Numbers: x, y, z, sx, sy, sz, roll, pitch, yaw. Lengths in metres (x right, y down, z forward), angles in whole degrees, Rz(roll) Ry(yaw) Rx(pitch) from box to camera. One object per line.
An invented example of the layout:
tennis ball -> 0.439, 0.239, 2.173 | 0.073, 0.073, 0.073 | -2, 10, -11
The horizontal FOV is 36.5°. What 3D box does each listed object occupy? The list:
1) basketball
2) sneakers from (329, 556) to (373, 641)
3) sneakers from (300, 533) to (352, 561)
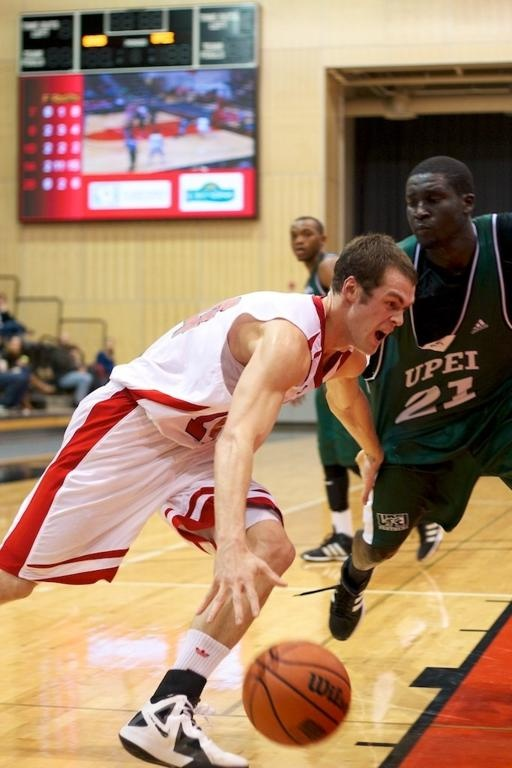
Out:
basketball -> 0.074, 0.506, 1.255 | 0.161, 0.157, 0.119 | 0, -4, -40
sneakers -> 0.258, 0.596, 2.182 | 0.090, 0.241, 0.114 | 21, 8, 28
sneakers -> 0.276, 0.717, 3.381 | 0.286, 0.106, 0.091 | -5, -10, 7
